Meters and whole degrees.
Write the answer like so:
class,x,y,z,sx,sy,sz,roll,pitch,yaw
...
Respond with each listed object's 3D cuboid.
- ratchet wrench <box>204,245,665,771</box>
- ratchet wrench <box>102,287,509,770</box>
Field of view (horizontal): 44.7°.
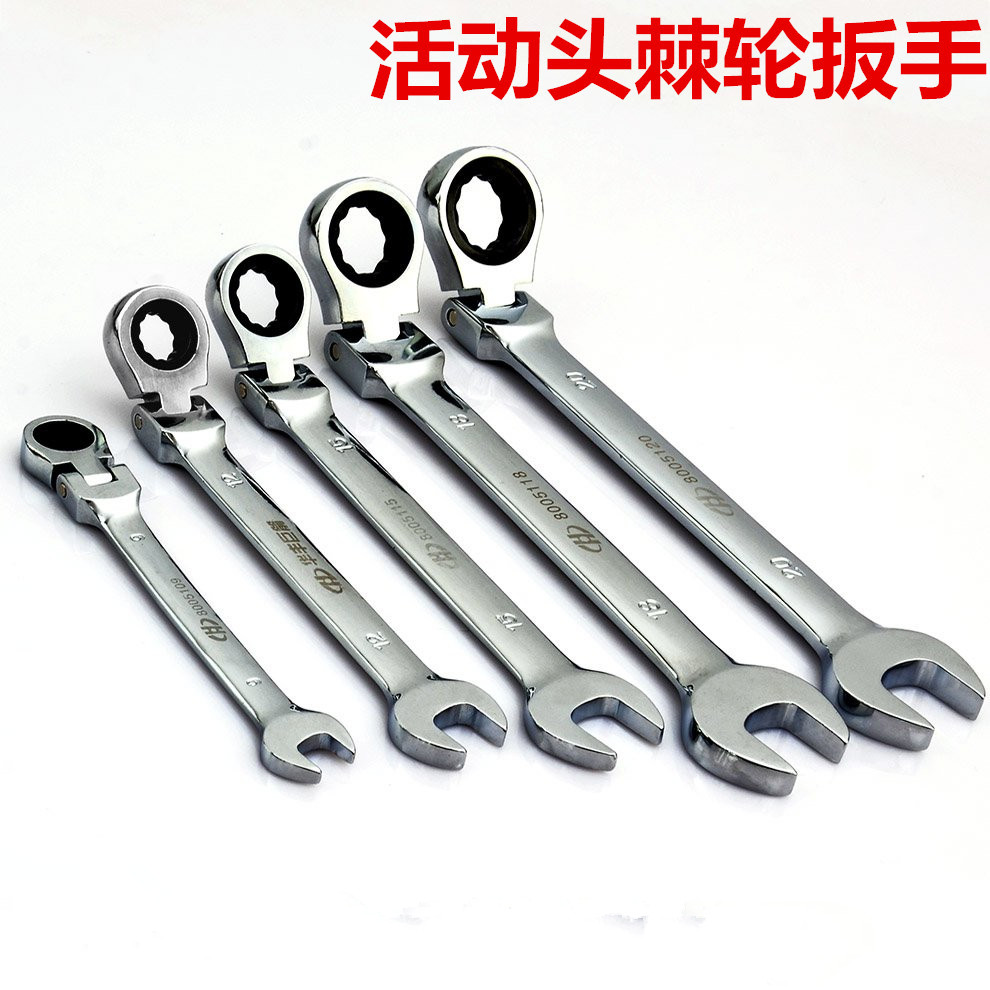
class,x,y,z,sx,sy,sz,roll,pitch,yaw
ratchet wrench,-0.090,0.023,1.536,0.173,0.141,0.834,-22,57,-43
ratchet wrench,-0.244,0.049,1.487,0.714,0.166,0.172,41,36,21
